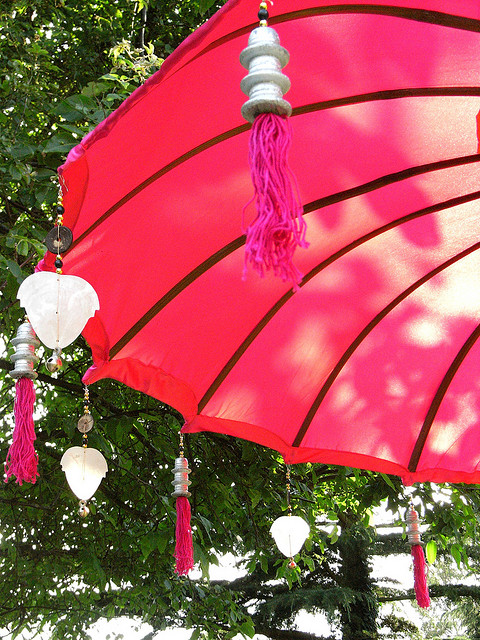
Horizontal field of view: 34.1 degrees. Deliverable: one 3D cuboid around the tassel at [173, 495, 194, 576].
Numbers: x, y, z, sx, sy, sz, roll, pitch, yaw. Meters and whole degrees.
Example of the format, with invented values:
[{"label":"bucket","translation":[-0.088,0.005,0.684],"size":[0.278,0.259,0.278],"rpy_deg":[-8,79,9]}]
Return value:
[{"label":"tassel","translation":[-0.280,1.036,3.804],"size":[0.081,0.348,0.093],"rpy_deg":[1,-21,-15]}]
